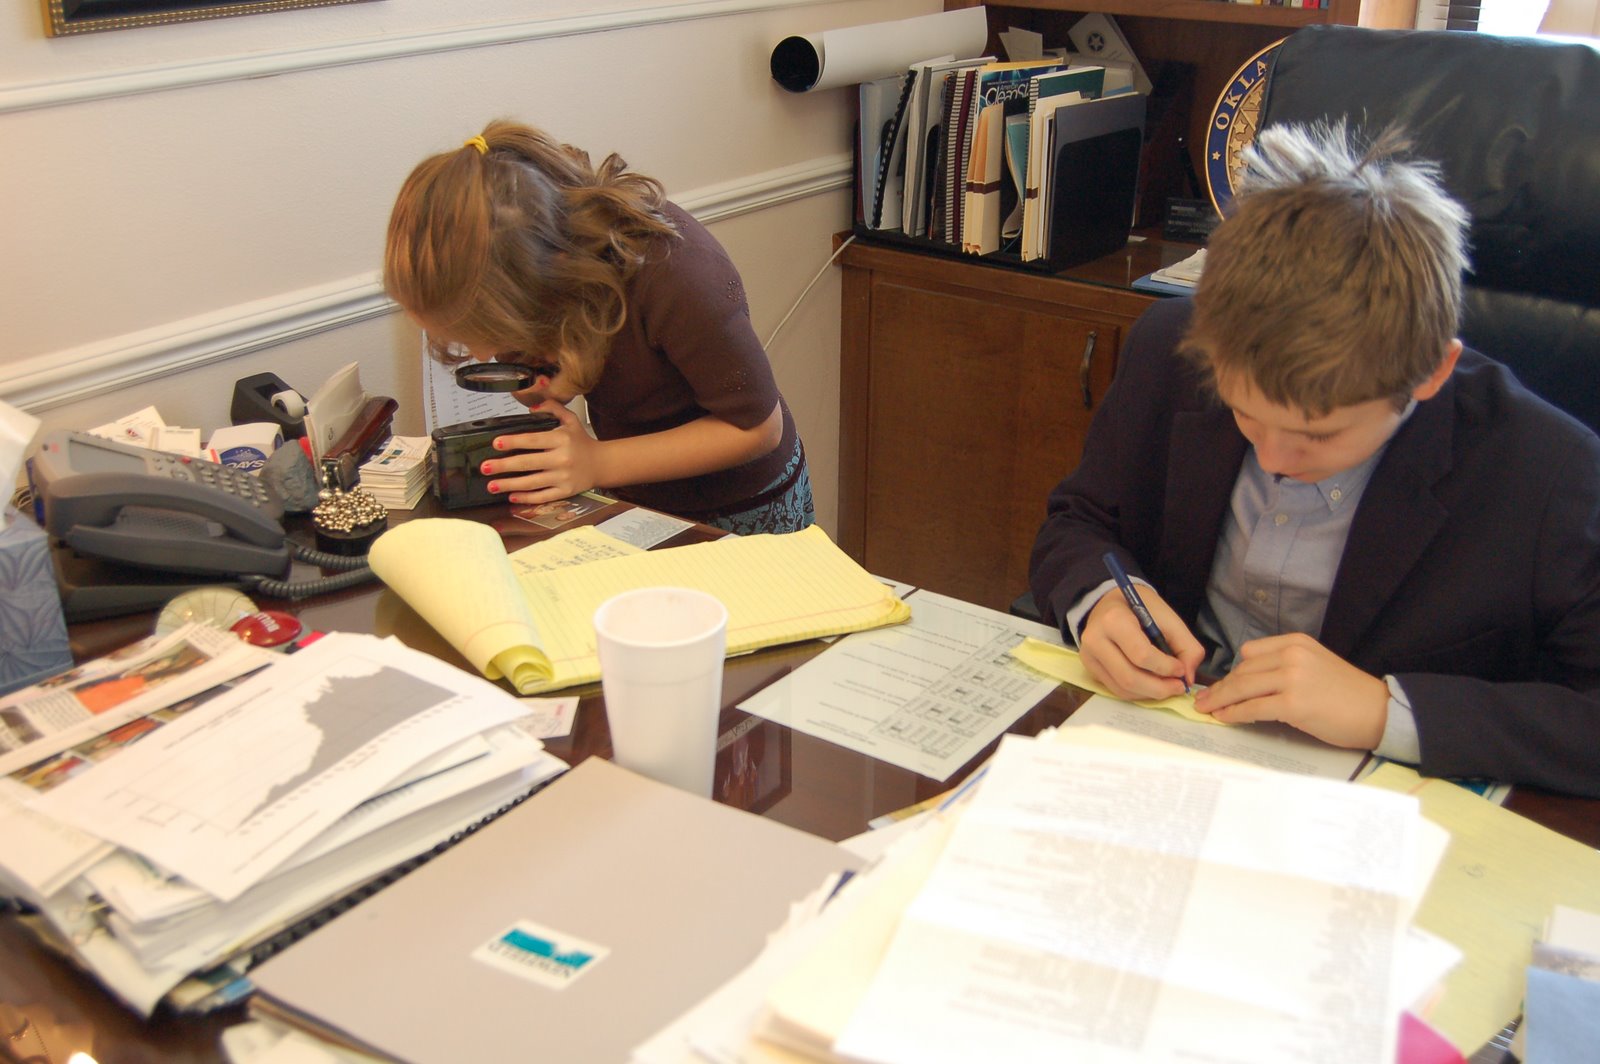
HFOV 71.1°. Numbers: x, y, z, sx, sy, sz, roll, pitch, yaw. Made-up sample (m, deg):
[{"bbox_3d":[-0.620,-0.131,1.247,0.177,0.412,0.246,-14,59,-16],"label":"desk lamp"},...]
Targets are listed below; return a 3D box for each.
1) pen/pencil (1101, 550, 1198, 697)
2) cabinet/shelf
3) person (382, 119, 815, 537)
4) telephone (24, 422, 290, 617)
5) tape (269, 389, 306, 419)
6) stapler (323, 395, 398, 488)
[{"bbox_3d":[0.444,0.119,1.427,0.021,0.020,0.188,-4,56,-33],"label":"pen/pencil"},{"bbox_3d":[0.437,-0.251,2.624,0.631,0.832,0.494,21,36,31],"label":"cabinet/shelf"},{"bbox_3d":[-0.370,-0.248,2.166,0.698,1.065,0.545,-15,40,-15],"label":"person"},{"bbox_3d":[-0.849,-0.007,1.541,0.327,0.122,0.256,-12,37,-31],"label":"telephone"},{"bbox_3d":[-0.915,-0.225,1.981,0.025,0.041,0.044,-26,43,-37],"label":"tape"},{"bbox_3d":[-0.713,-0.142,1.792,0.061,0.065,0.260,20,28,-6],"label":"stapler"}]
